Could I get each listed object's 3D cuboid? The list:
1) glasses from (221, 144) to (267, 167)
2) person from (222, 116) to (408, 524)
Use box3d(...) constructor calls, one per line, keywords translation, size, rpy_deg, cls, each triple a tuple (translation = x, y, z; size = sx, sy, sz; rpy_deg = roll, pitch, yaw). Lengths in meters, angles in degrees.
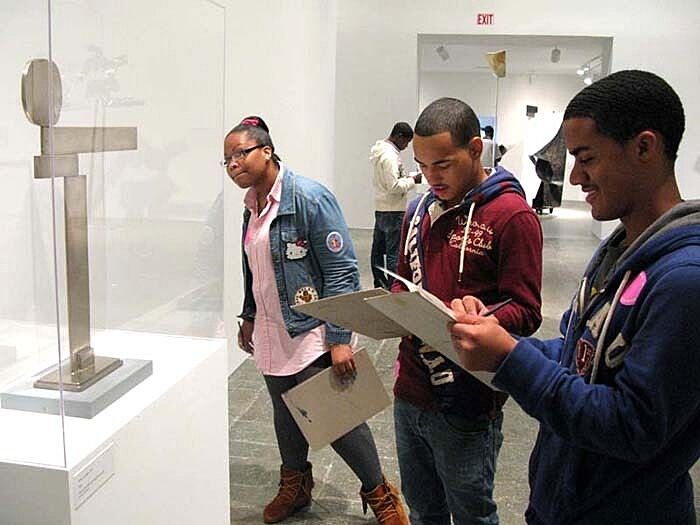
box3d(translation=(-0.410, -0.386, 2.152), size=(0.134, 0.039, 0.136), rpy_deg=(-30, 3, 35), cls="glasses")
box3d(translation=(-0.214, 0.262, 2.307), size=(0.659, 1.715, 0.365), rpy_deg=(5, 10, 30), cls="person")
